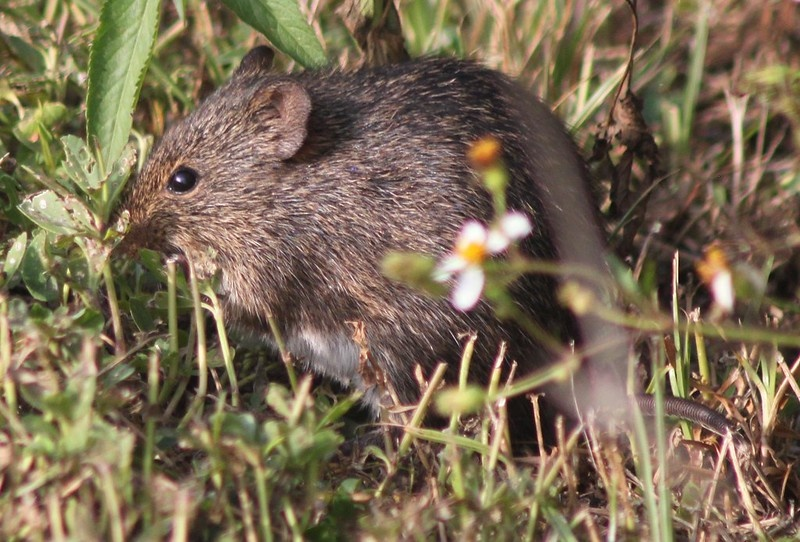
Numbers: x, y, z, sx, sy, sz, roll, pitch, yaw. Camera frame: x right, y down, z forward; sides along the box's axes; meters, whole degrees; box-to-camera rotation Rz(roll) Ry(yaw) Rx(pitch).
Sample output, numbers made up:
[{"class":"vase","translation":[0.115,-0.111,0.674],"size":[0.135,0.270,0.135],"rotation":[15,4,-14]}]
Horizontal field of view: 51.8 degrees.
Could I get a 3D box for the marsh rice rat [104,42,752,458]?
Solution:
[{"class":"marsh rice rat","translation":[0.437,-0.050,5.107],"size":[4.478,1.562,1.996],"rotation":[7,106,5]}]
